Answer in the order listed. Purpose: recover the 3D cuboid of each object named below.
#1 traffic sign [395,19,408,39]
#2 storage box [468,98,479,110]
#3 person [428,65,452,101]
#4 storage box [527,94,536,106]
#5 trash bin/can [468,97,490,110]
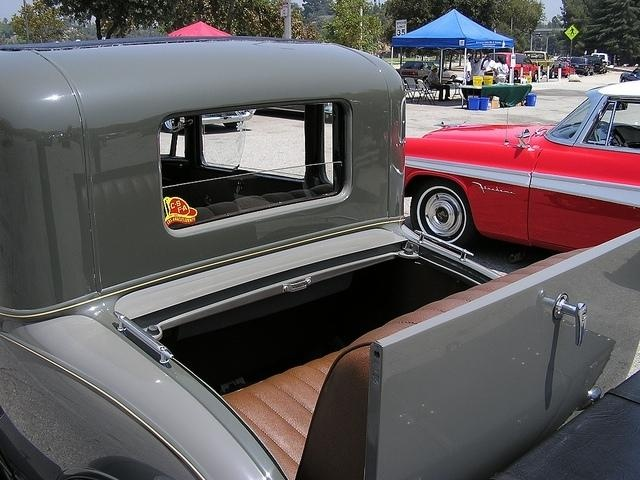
[{"bbox_3d":[3.990,-10.566,23.772,0.481,0.670,1.082,1,21,3],"label":"traffic sign"},{"bbox_3d":[5.989,-5.353,18.898,0.410,0.499,0.395,2,7,12],"label":"storage box"},{"bbox_3d":[5.623,-7.448,22.803,0.878,1.645,0.806,3,7,33],"label":"person"},{"bbox_3d":[8.770,-5.867,20.072,0.411,0.391,0.426,-6,23,-13],"label":"storage box"},{"bbox_3d":[6.209,-5.386,18.909,0.668,0.416,0.478,6,19,19],"label":"trash bin/can"}]
